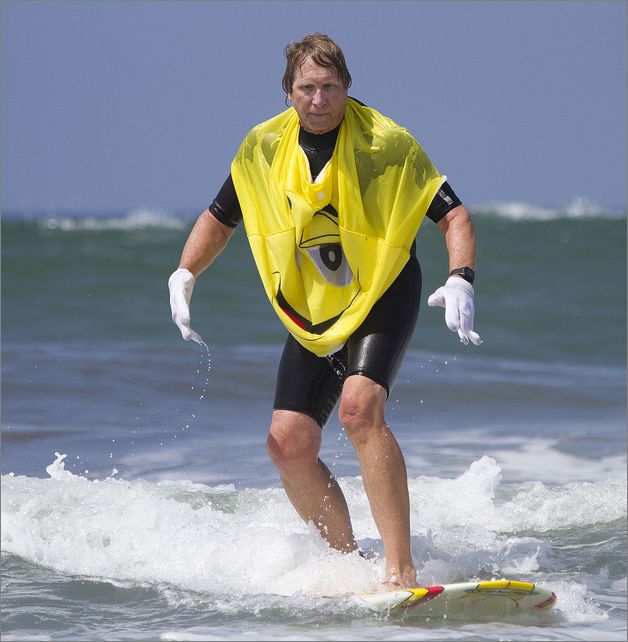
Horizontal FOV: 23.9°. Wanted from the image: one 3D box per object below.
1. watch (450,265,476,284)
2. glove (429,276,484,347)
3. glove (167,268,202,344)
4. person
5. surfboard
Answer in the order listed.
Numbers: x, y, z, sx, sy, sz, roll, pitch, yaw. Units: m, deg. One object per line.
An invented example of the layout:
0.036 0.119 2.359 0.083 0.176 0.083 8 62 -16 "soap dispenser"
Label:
0.653 -0.203 6.533 0.101 0.061 0.101 5 -10 -27 "watch"
0.611 -0.043 6.517 0.218 0.297 0.314 -1 2 8 "glove"
-0.626 -0.062 6.845 0.093 0.320 0.211 4 -11 -40 "glove"
0.081 -0.079 6.677 1.329 2.358 0.672 0 2 36 "person"
0.523 1.136 6.081 0.909 0.117 0.291 2 -6 -6 "surfboard"
